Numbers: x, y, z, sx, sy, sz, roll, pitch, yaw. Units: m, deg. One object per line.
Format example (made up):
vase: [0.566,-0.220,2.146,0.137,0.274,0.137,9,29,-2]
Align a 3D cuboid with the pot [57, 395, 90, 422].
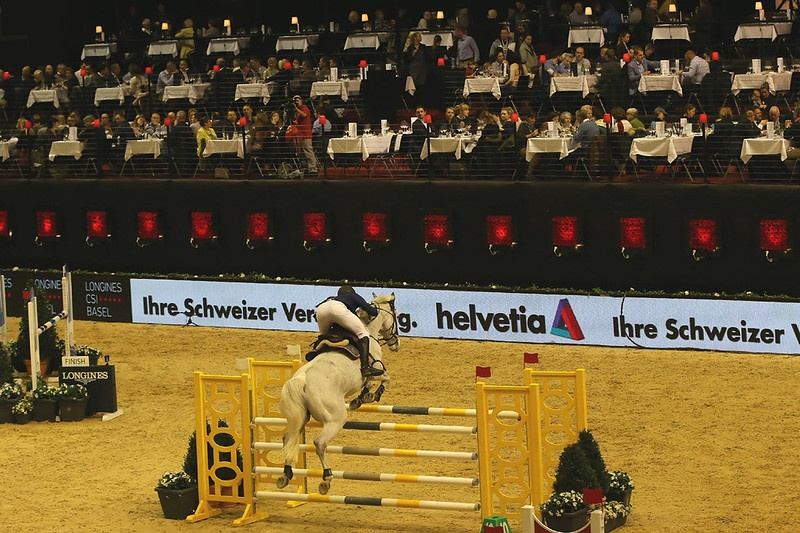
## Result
pot: [-8.542,3.714,50.230,0.700,0.560,0.606,0,-8,-9]

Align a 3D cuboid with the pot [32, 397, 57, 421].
pot: [-9.286,3.745,50.258,0.653,0.485,0.546,0,-12,-1]

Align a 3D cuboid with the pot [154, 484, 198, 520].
pot: [-5.304,5.657,46.402,0.887,0.658,0.756,-1,-4,6]

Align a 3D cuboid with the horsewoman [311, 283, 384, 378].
horsewoman: [-1.259,1.547,46.842,1.469,2.713,1.781,-1,-20,-4]
